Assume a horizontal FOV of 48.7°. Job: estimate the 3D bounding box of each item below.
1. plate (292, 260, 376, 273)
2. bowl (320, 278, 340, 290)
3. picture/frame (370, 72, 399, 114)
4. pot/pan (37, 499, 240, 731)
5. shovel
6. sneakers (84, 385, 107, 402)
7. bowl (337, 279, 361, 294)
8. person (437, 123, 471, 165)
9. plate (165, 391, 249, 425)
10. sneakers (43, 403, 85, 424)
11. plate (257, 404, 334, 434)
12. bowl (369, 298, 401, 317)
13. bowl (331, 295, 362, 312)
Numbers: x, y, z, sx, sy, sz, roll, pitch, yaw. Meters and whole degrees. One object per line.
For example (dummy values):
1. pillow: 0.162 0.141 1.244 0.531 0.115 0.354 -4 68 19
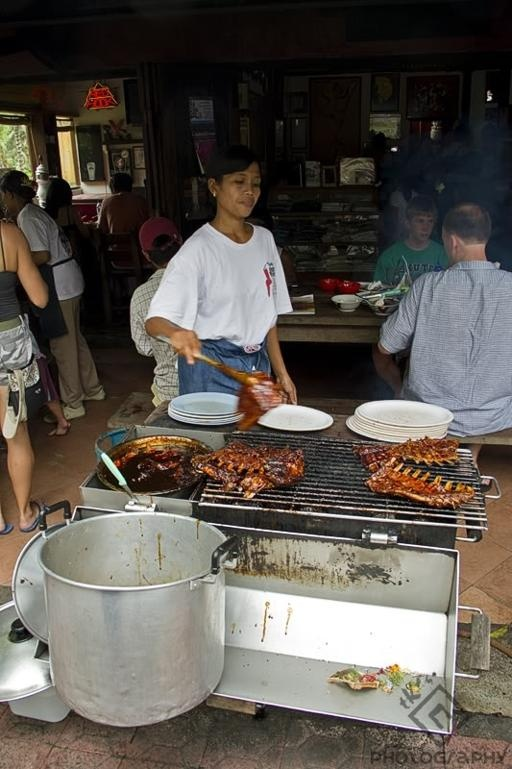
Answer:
1. plate: 1.120 -1.672 7.920 1.133 0.205 0.356 -2 19 3
2. bowl: 0.761 -1.025 5.758 0.174 0.101 0.167 -2 28 1
3. picture/frame: 2.242 -5.146 9.888 0.701 0.743 0.077 -3 27 -1
4. pot/pan: -0.355 0.648 1.640 0.511 0.432 0.468 3 4 13
5. shovel: -0.205 -0.077 2.882 0.388 0.343 0.483 4 15 11
6. sneakers: -1.782 0.099 6.345 0.241 0.094 0.137 -5 9 21
7. bowl: 0.917 -0.925 5.471 0.211 0.131 0.431 -1 19 5
8. person: 3.604 -4.353 10.166 0.515 0.780 0.723 4 20 19
9. plate: -0.238 0.110 2.642 0.325 0.075 0.359 -5 19 -6
10. sneakers: -1.979 0.301 5.906 0.415 0.153 0.150 -5 9 -31
11. plate: 0.199 0.161 2.595 0.319 0.053 0.321 3 19 17
12. bowl: 1.114 -0.659 4.800 0.175 0.064 0.169 -2 29 1
13. bowl: 0.833 -0.738 5.020 0.212 0.081 0.208 -1 28 1
